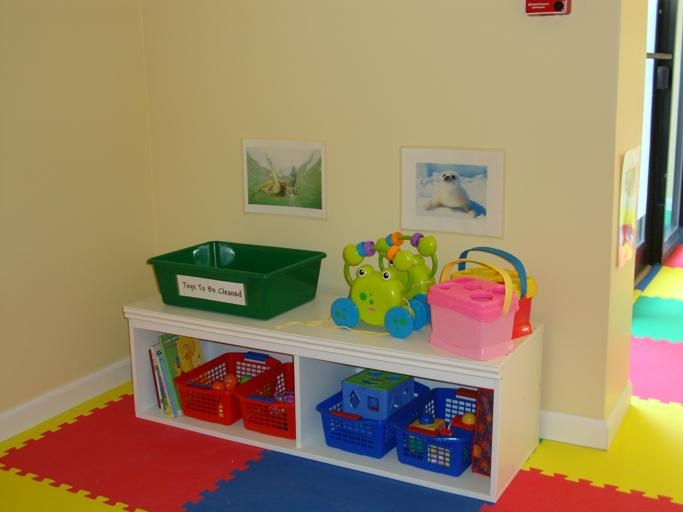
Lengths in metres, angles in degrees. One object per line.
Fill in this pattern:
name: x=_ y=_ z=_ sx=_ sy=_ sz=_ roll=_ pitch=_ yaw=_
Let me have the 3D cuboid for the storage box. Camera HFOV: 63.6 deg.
storage box: x=-0.452 y=0.100 z=2.421 sx=0.634 sy=0.220 sz=0.464 roll=6 pitch=13 yaw=25

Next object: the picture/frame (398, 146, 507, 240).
picture/frame: x=0.443 y=-0.260 z=2.223 sx=0.427 sy=0.340 sz=0.037 roll=8 pitch=19 yaw=22

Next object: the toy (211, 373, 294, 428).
toy: x=-0.375 y=0.613 z=2.311 sx=0.233 sy=0.113 sz=0.193 roll=14 pitch=21 yaw=25

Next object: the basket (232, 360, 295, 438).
basket: x=-0.285 y=0.619 z=2.354 sx=0.204 sy=0.124 sz=0.280 roll=-3 pitch=-8 yaw=15

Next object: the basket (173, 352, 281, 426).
basket: x=-0.546 y=0.517 z=2.536 sx=0.429 sy=0.271 sz=0.495 roll=4 pitch=8 yaw=35

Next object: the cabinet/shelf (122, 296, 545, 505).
cabinet/shelf: x=0.155 y=0.612 z=2.174 sx=1.755 sy=0.649 sz=0.611 roll=7 pitch=12 yaw=27

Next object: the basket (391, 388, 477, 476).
basket: x=0.366 y=0.637 z=2.144 sx=0.291 sy=0.186 sz=0.399 roll=5 pitch=19 yaw=14

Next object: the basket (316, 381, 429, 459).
basket: x=0.112 y=0.625 z=2.120 sx=0.268 sy=0.211 sz=0.318 roll=4 pitch=8 yaw=34

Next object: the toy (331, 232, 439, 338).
toy: x=0.203 y=0.069 z=2.142 sx=0.404 sy=0.418 sz=0.327 roll=4 pitch=11 yaw=23
